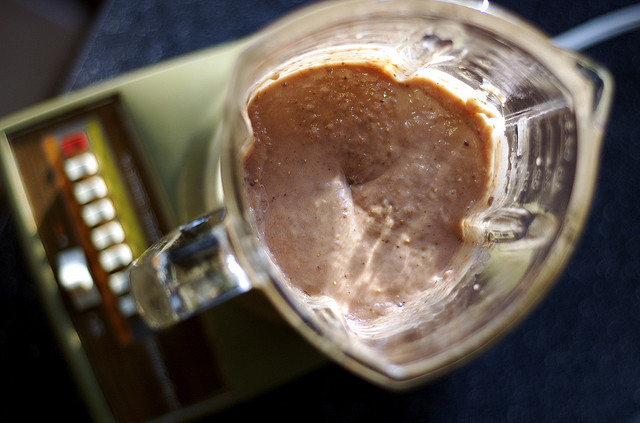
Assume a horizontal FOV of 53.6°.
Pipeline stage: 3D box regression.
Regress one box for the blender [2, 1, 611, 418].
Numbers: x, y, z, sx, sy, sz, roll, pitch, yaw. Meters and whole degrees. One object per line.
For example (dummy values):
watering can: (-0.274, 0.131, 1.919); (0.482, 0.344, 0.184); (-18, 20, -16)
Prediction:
blender: (-0.024, 0.019, 0.820); (0.448, 0.285, 0.458); (-16, 5, -4)
